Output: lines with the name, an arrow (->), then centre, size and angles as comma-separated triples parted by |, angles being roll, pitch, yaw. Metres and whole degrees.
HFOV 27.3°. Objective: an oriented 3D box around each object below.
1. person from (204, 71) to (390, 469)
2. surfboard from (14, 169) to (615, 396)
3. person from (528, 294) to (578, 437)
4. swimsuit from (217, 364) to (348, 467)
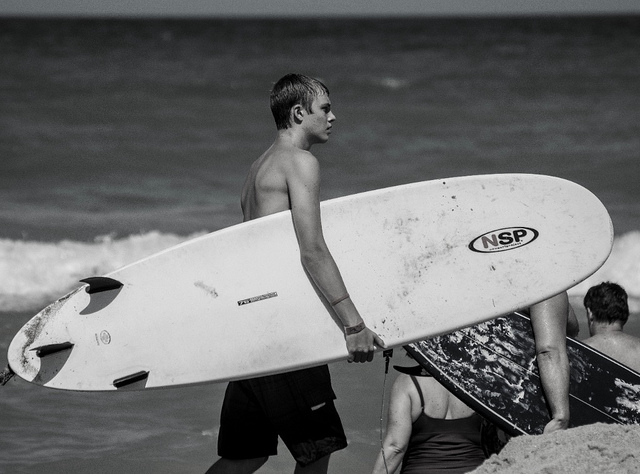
person -> -0.221, 0.235, 7.974 | 1.082, 2.308, 0.675 | -10, 15, 1
surfboard -> -0.550, 0.389, 8.532 | 4.622, 1.189, 0.733 | -12, -3, 1
person -> 1.478, 0.811, 8.100 | 0.235, 0.903, 0.134 | -18, -9, 0
swimsuit -> -0.250, 1.102, 8.073 | 0.903, 0.680, 0.396 | -4, 4, 22
